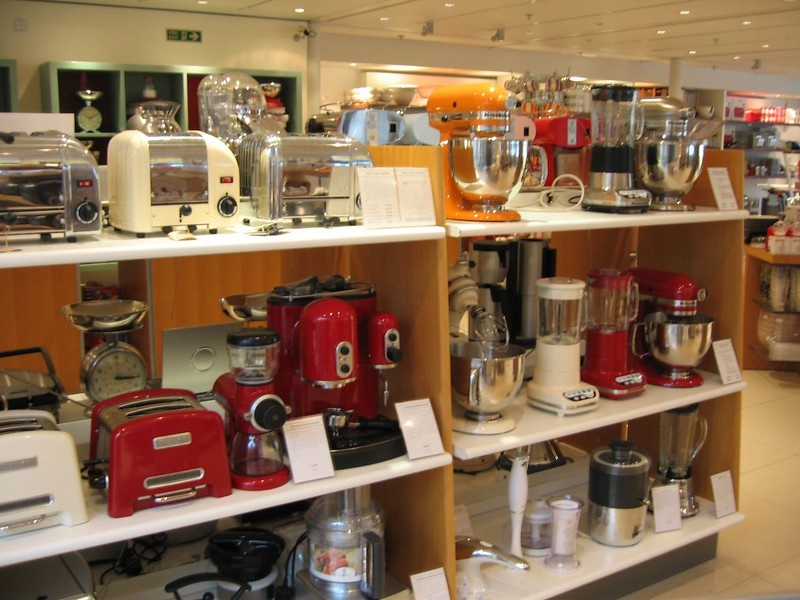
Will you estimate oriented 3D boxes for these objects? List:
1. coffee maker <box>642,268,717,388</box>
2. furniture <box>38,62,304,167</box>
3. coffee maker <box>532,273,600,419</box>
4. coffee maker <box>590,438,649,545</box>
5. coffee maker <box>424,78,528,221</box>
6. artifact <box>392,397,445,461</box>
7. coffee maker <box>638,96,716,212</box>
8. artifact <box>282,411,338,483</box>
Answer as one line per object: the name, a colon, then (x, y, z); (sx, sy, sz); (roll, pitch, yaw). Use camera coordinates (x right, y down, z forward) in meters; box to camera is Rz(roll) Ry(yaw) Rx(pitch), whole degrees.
coffee maker: (1.075, 0.104, 2.616); (0.341, 0.423, 0.386); (-1, 3, -23)
furniture: (-2.287, -1.826, 6.760); (2.429, 1.186, 0.411); (-10, 26, -33)
coffee maker: (0.585, 0.165, 2.322); (0.286, 0.456, 0.280); (3, 4, 7)
coffee maker: (0.817, 0.711, 2.441); (0.218, 0.367, 0.222); (-2, 9, -12)
coffee maker: (0.258, -0.503, 2.185); (0.251, 0.435, 0.398); (-12, 15, -35)
artifact: (0.054, 0.365, 1.857); (0.124, 0.167, 0.038); (-10, -7, -23)
coffee maker: (1.051, -0.550, 2.524); (0.322, 0.407, 0.360); (-7, 11, -20)
artifact: (-0.245, 0.390, 1.747); (0.121, 0.160, 0.037); (-17, -5, 9)
